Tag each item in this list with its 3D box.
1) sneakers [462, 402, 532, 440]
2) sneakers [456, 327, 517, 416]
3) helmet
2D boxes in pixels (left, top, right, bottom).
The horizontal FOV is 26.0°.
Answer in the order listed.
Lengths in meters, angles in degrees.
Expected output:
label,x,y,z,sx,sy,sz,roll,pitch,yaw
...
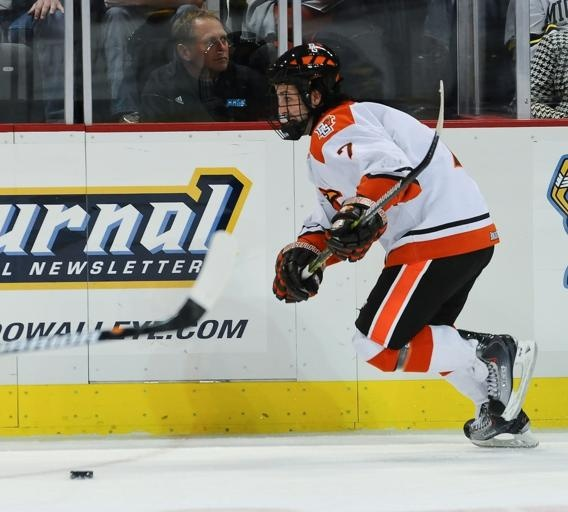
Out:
label,x,y,z,sx,sy,sz,roll,pitch,yaw
sneakers,0.957,0.775,5.635,0.362,0.192,0.120,-6,38,20
sneakers,0.951,0.511,5.728,0.264,0.437,0.158,-3,-3,-2
helmet,0.105,-0.813,5.538,0.355,0.239,0.257,0,3,0
